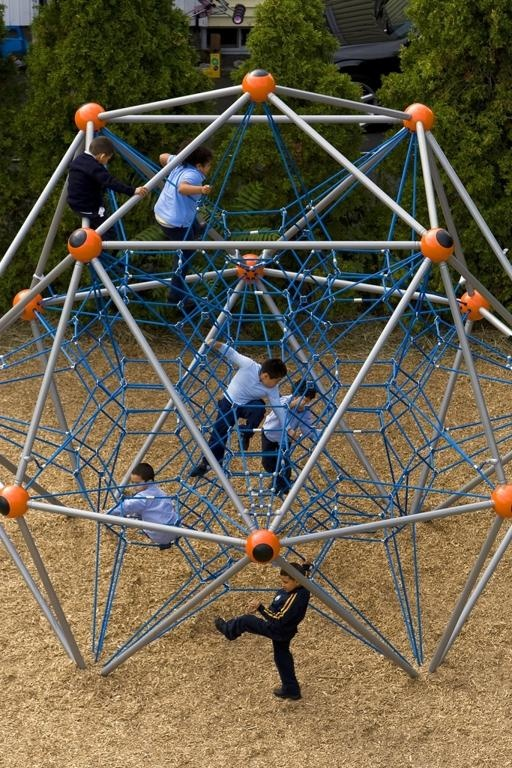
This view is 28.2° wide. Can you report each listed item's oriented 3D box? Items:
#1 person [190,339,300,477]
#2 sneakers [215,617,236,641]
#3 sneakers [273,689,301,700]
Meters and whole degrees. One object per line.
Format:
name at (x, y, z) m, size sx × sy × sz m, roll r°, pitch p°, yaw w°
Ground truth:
person at (-0.129, 0.100, 6.596) m, size 0.743 × 0.870 × 0.263 m, roll 25°, pitch 21°, yaw -30°
sneakers at (-0.160, 1.365, 5.683) m, size 0.076 × 0.100 × 0.237 m, roll -27°, pitch 5°, yaw -12°
sneakers at (0.167, 1.664, 5.449) m, size 0.132 × 0.055 × 0.054 m, roll 7°, pitch 76°, yaw 10°
